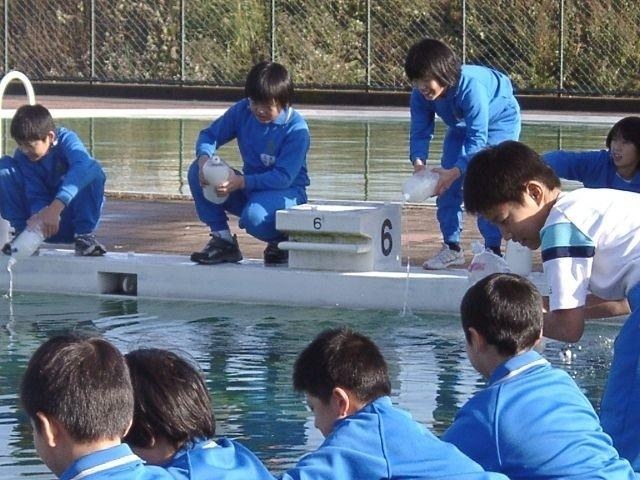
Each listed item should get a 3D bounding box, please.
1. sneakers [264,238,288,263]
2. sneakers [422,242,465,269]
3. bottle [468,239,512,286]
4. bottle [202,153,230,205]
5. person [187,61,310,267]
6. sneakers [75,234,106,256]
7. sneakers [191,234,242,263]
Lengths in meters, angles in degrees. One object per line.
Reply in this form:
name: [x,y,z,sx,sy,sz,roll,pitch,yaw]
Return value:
sneakers: [-0.338,0.102,11.999,0.202,0.225,0.108,1,8,-7]
sneakers: [0.962,0.117,11.973,0.382,0.225,0.146,-9,5,-27]
bottle: [1.068,0.142,10.203,0.288,0.331,0.196,-1,-19,-20]
bottle: [-0.787,-0.444,11.817,0.220,0.411,0.244,6,31,2]
person: [-0.532,-0.584,11.949,0.903,1.555,0.644,-1,5,-1]
sneakers: [-1.767,0.047,12.202,0.261,0.146,0.116,-1,2,31]
sneakers: [-0.766,0.087,11.962,0.418,0.250,0.161,0,2,-28]
